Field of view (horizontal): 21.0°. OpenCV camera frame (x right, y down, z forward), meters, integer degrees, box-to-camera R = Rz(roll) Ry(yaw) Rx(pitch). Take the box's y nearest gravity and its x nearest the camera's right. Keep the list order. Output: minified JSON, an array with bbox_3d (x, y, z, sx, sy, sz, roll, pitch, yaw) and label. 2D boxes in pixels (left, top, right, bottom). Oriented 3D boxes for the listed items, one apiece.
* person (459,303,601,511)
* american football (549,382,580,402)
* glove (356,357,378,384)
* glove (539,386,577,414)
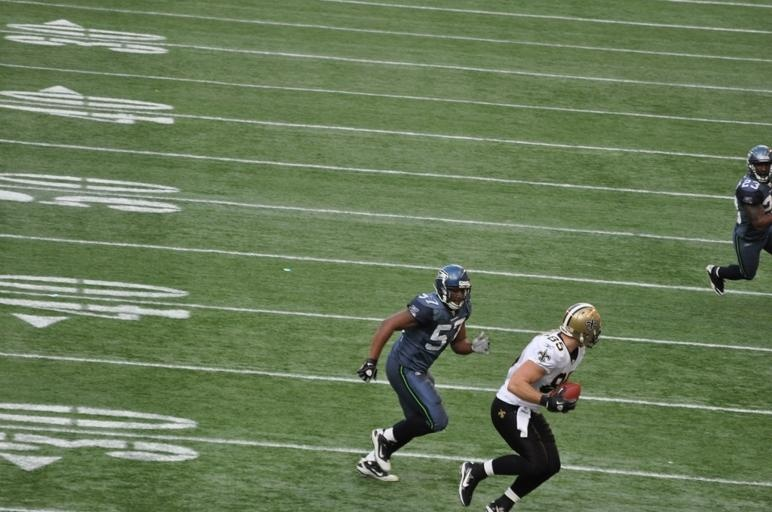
[{"bbox_3d":[1.817,1.935,26.511,1.156,2.827,0.737,14,10,1],"label":"person"},{"bbox_3d":[2.260,1.695,26.211,0.343,0.222,0.228,11,8,20],"label":"american football"},{"bbox_3d":[-0.248,1.465,26.884,0.245,0.330,0.275,12,9,0],"label":"glove"},{"bbox_3d":[2.155,1.779,26.167,0.496,0.185,0.366,-24,21,-36],"label":"glove"}]
